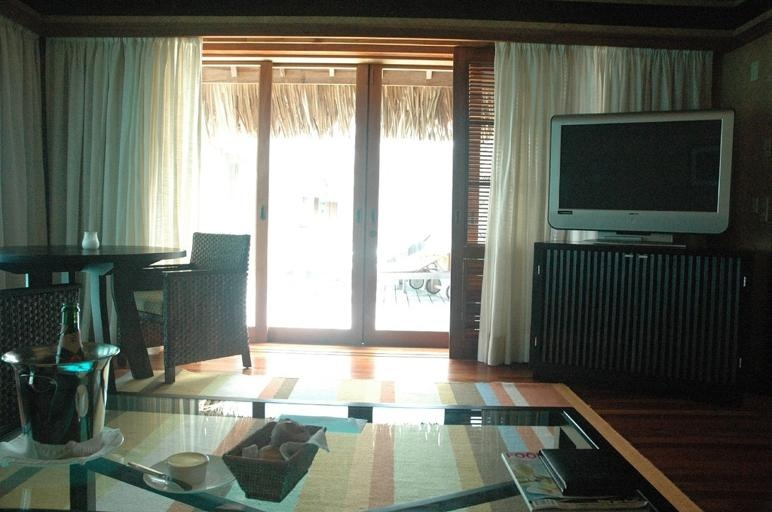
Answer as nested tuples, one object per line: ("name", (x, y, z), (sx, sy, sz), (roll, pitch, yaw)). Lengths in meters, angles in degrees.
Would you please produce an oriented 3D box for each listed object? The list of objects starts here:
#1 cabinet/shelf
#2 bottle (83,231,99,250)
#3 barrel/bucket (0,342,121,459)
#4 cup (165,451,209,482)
("cabinet/shelf", (1.767, 0.436, 4.744), (1.908, 1.447, 1.021), (1, -2, 17))
("bottle", (-2.030, -0.103, 4.280), (0.137, 0.117, 0.129), (5, 8, 0))
("barrel/bucket", (-1.363, 0.615, 2.779), (0.503, 0.382, 0.476), (-1, 3, 0))
("cup", (-0.831, 0.891, 2.604), (0.165, 0.100, 0.109), (-2, 14, -13))
